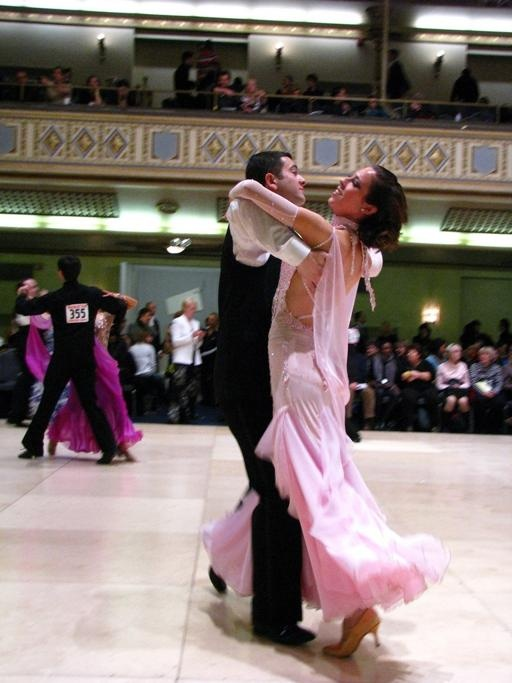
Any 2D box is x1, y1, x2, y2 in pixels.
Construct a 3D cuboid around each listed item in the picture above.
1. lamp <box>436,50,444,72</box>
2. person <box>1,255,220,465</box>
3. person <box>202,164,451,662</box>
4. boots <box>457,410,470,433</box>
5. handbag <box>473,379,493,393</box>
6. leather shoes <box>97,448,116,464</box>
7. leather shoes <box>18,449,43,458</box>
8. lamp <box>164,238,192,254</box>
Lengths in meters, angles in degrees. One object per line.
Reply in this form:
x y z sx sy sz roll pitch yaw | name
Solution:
4.416 -6.819 14.828 0.118 0.378 0.303 25 -22 -22 | lamp
-1.675 0.189 5.642 1.095 1.743 1.427 4 -4 -20 | person
0.236 0.121 1.742 0.624 1.256 0.386 2 -4 15 | person
3.040 1.164 9.024 0.149 0.386 0.306 1 -4 30 | boots
3.364 0.696 9.073 0.266 0.249 0.134 4 -4 -21 | handbag
-1.292 0.980 5.278 0.144 0.145 0.237 3 -4 -12 | leather shoes
-1.918 0.982 5.310 0.253 0.087 0.084 2 -2 12 | leather shoes
-1.712 -2.102 13.564 0.496 0.304 0.174 -20 -28 8 | lamp
